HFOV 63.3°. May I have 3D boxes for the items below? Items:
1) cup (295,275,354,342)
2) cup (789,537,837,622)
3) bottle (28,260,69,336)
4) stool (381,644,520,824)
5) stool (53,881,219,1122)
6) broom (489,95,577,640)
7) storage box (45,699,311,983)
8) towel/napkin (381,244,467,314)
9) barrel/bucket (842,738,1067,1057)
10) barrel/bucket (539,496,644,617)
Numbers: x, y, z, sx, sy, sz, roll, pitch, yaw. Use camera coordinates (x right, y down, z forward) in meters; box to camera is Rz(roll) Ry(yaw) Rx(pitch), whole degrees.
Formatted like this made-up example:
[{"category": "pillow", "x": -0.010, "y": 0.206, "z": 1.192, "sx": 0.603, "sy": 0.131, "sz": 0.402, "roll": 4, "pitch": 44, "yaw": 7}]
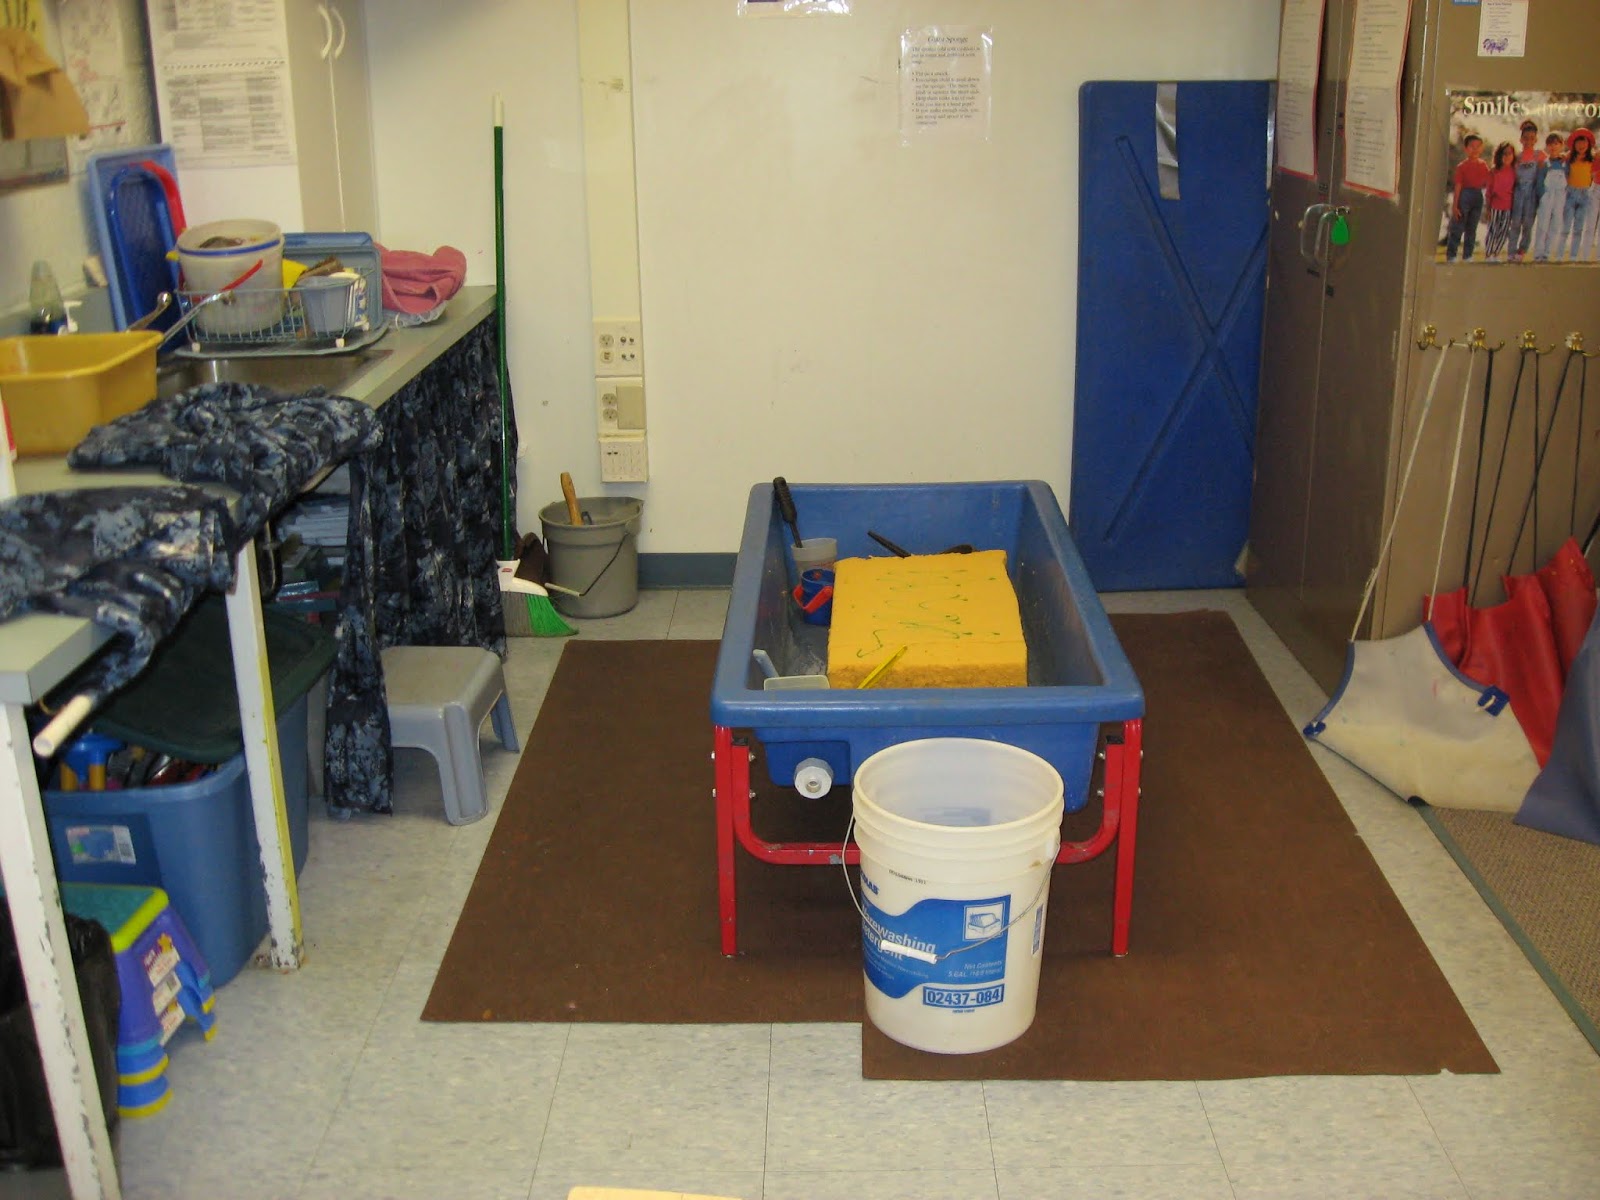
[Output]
[{"category": "cup", "x": -1.273, "y": -0.799, "z": 3.567, "sx": 0.156, "sy": 0.176, "sz": 0.153, "roll": 2, "pitch": 25, "yaw": -1}, {"category": "cup", "x": 0.053, "y": -0.052, "z": 3.842, "sx": 0.122, "sy": 0.242, "sz": 0.232, "roll": 2, "pitch": 37, "yaw": 5}, {"category": "bottle", "x": -1.874, "y": -0.734, "z": 3.227, "sx": 0.063, "sy": 0.241, "sz": 0.032, "roll": -2, "pitch": -7, "yaw": -16}, {"category": "stool", "x": -0.955, "y": 0.353, "z": 3.718, "sx": 0.390, "sy": 0.328, "sz": 0.415, "roll": -1, "pitch": 19, "yaw": 4}, {"category": "stool", "x": -1.288, "y": 0.759, "z": 2.714, "sx": 0.391, "sy": 0.408, "sz": 0.373, "roll": -5, "pitch": 6, "yaw": -19}, {"category": "broom", "x": -1.020, "y": -0.784, "z": 4.613, "sx": 0.240, "sy": 1.779, "sz": 0.718, "roll": -6, "pitch": 20, "yaw": -11}, {"category": "storage box", "x": -1.376, "y": 0.550, "z": 3.026, "sx": 0.384, "sy": 0.402, "sz": 0.588, "roll": -1, "pitch": 11, "yaw": 3}, {"category": "towel/napkin", "x": -1.176, "y": -0.987, "z": 4.024, "sx": 0.235, "sy": 0.093, "sz": 0.254, "roll": 2, "pitch": 30, "yaw": 5}, {"category": "barrel/bucket", "x": 0.336, "y": 0.636, "z": 2.786, "sx": 0.424, "sy": 0.539, "sz": 0.438, "roll": 0, "pitch": 16, "yaw": 0}, {"category": "barrel/bucket", "x": -0.756, "y": -0.180, "z": 4.904, "sx": 0.387, "sy": 0.380, "sz": 0.396, "roll": 0, "pitch": 29, "yaw": 0}]
